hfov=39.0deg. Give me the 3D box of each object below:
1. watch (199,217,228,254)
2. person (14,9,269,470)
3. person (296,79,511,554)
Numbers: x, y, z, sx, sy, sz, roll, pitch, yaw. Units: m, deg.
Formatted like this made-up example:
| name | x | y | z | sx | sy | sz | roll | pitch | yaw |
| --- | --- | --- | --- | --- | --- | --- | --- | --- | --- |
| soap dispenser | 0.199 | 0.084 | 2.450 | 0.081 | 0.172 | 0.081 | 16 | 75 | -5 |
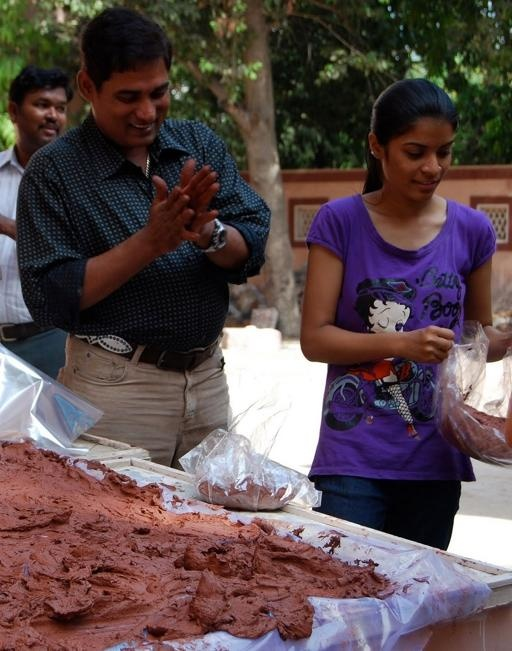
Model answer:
| name | x | y | z | sx | sy | sz | roll | pitch | yaw |
| --- | --- | --- | --- | --- | --- | --- | --- | --- | --- |
| watch | -0.112 | -0.231 | 1.880 | 0.072 | 0.076 | 0.050 | -39 | 74 | -23 |
| person | -0.328 | -0.190 | 2.010 | 0.616 | 1.315 | 0.710 | 4 | 7 | 12 |
| person | 0.370 | -0.009 | 1.881 | 0.470 | 1.234 | 0.445 | 5 | 8 | 20 |
